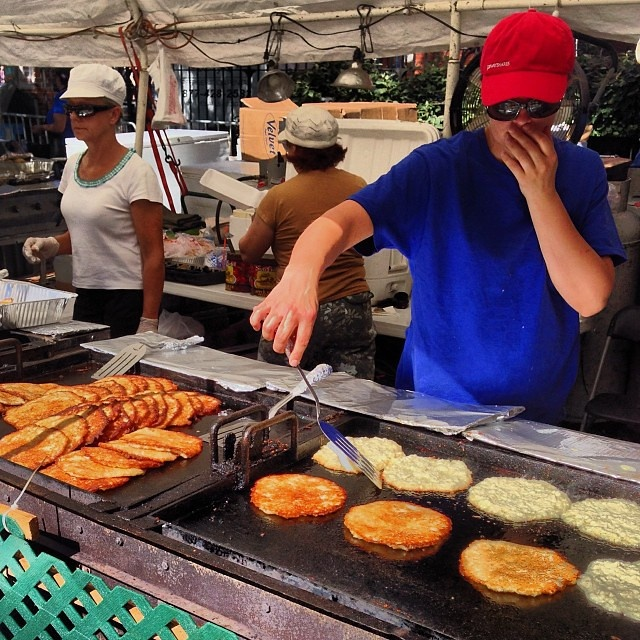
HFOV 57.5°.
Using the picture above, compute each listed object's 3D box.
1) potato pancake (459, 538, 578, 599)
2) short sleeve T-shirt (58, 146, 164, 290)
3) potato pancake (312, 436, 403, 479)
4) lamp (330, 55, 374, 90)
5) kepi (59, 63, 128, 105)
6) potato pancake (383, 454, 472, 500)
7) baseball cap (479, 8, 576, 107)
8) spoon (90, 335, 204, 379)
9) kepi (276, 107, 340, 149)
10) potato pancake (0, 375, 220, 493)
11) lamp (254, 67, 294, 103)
[{"bbox_3d":[0.478,0.582,1.388,0.279,0.019,0.239,0,6,-13],"label":"potato pancake"},{"bbox_3d":[-1.358,-0.656,3.886,0.568,0.783,1.052,-5,12,-37],"label":"short sleeve T-shirt"},{"bbox_3d":[0.119,0.459,1.958,0.243,0.026,0.161,3,11,10],"label":"potato pancake"},{"bbox_3d":[0.350,-2.407,5.768,0.429,0.179,0.353,3,8,7],"label":"lamp"},{"bbox_3d":[-1.363,-1.451,3.636,0.295,0.153,0.390,6,8,33],"label":"kepi"},{"bbox_3d":[0.336,0.499,1.835,0.215,0.027,0.213,3,-2,-19],"label":"potato pancake"},{"bbox_3d":[0.579,-0.728,1.633,0.258,0.301,0.140,3,-33,21],"label":"baseball cap"},{"bbox_3d":[-0.819,0.152,2.844,0.172,0.128,0.656,17,16,37],"label":"spoon"},{"bbox_3d":[-0.100,-1.248,3.784,0.310,0.170,0.392,-19,31,-41],"label":"kepi"},{"bbox_3d":[-0.750,0.396,2.004,0.447,0.034,0.401,8,13,24],"label":"potato pancake"},{"bbox_3d":[-0.482,-2.223,5.603,0.364,0.311,0.317,-19,40,0],"label":"lamp"}]
